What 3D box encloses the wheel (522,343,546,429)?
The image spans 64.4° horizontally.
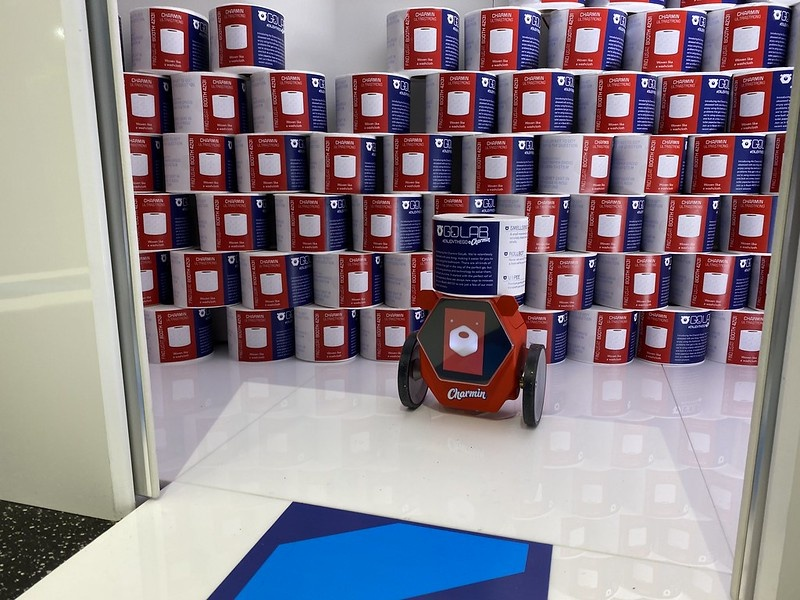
[{"bbox_3d":[0.506,0.332,2.404,0.053,0.270,0.344,-3,-6,18],"label":"wheel"}]

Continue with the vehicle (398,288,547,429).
[{"bbox_3d":[0.286,0.252,2.485,0.583,0.468,0.266,5,16,17],"label":"vehicle"}]
